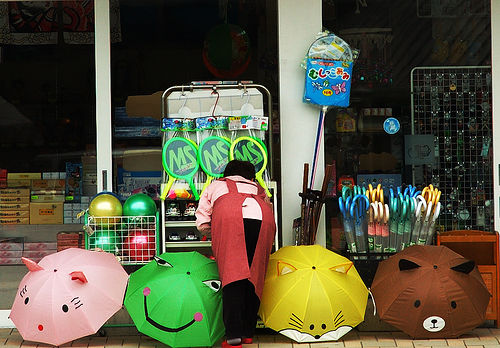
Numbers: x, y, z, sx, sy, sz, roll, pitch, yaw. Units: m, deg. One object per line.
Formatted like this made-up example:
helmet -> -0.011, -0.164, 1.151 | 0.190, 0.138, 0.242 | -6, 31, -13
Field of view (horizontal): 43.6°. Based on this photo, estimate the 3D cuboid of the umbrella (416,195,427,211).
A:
umbrella -> 1.853, 0.310, 6.760 | 0.113, 0.169, 0.162 | 0, -2, 11

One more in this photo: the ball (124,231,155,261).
ball -> -1.162, 0.768, 6.640 | 0.255, 0.332, 0.211 | 0, 6, 10

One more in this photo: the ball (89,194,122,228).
ball -> -1.543, 0.398, 6.634 | 0.336, 0.343, 0.114 | 1, -2, -18

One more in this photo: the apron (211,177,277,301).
apron -> -0.072, 0.623, 6.127 | 0.628, 1.169, 0.299 | 1, -2, -6

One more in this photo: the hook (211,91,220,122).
hook -> -0.388, -0.746, 6.861 | 0.081, 0.360, 0.184 | 1, -2, -6

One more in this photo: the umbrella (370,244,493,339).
umbrella -> 1.780, 1.201, 6.263 | 1.130, 0.936, 0.474 | 0, -2, 20

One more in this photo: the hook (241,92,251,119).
hook -> -0.040, -0.754, 6.834 | 0.106, 0.319, 0.197 | 1, -2, -9

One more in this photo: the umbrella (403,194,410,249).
umbrella -> 1.688, 0.517, 6.790 | 0.063, 0.528, 0.081 | 1, 2, 39

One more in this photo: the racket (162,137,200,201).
racket -> -0.730, -0.052, 6.862 | 0.347, 0.691, 0.070 | -27, 2, -15

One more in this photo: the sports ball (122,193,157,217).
sports ball -> -1.181, 0.356, 6.670 | 0.245, 0.311, 0.257 | 32, 0, 0
